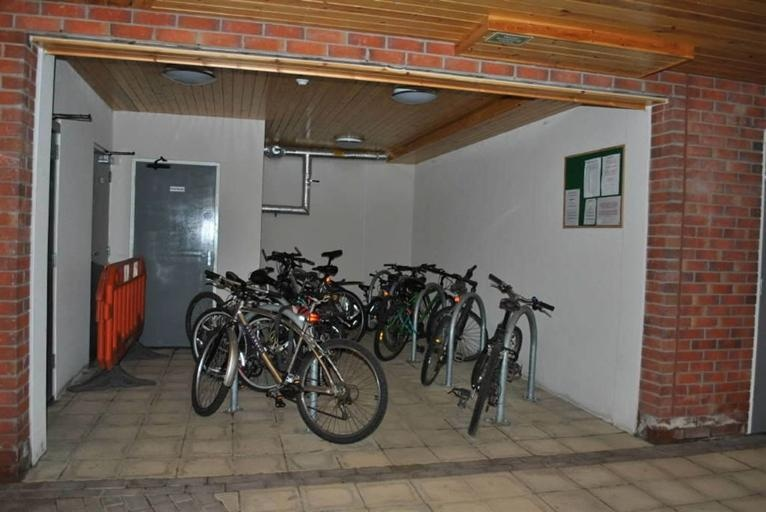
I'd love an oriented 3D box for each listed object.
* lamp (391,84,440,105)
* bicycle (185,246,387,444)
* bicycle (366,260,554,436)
[{"bbox_3d":[0.313,-1.699,5.816,0.460,0.140,0.399,-6,14,-35],"label":"lamp"},{"bbox_3d":[-0.995,0.892,5.177,2.458,1.334,1.206,11,14,37],"label":"bicycle"},{"bbox_3d":[0.974,0.904,5.830,1.126,0.987,1.705,16,0,21],"label":"bicycle"}]
